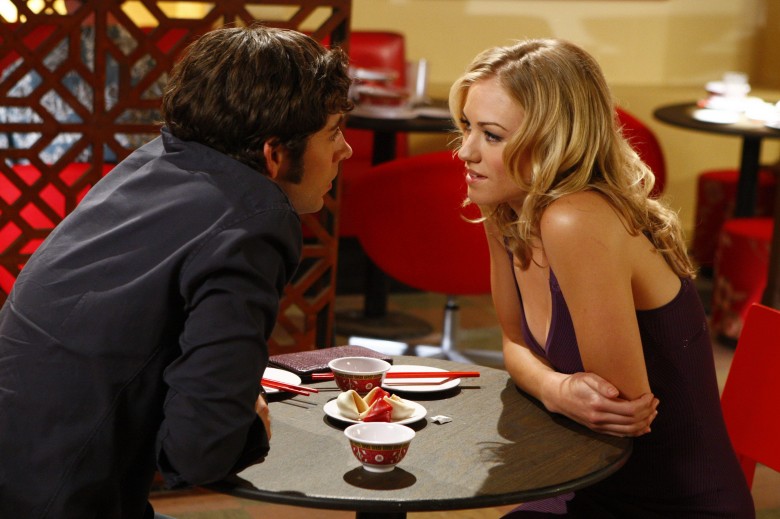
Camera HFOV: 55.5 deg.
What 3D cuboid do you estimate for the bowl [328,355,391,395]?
[{"bbox_3d":[-0.094,0.305,1.834,0.128,0.065,0.130,6,-2,0],"label":"bowl"}]

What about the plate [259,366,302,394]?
[{"bbox_3d":[-0.277,0.300,1.857,0.087,0.015,0.087,-3,27,-16],"label":"plate"}]

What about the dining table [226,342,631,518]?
[{"bbox_3d":[0.086,0.415,1.576,0.441,0.284,0.439,-8,18,-19],"label":"dining table"}]
